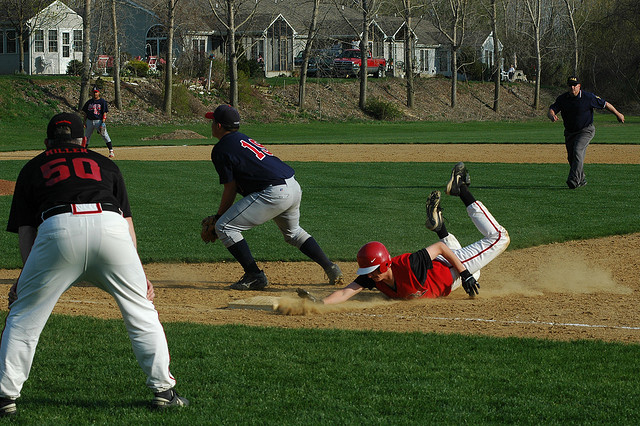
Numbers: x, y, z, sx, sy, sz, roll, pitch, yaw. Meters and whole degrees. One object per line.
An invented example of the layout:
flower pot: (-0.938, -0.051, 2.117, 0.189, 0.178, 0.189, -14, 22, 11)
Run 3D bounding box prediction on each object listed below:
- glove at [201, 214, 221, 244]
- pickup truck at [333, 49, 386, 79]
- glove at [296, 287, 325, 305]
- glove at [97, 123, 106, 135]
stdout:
glove: (-2.766, 0.443, 28.491, 0.481, 0.665, 0.190, -11, -10, 39)
pickup truck: (2.532, -9.693, 73.463, 1.942, 1.847, 4.020, 7, 8, 31)
glove: (-0.295, 2.049, 27.726, 0.734, 0.287, 0.292, 25, 5, -14)
glove: (-7.986, -3.018, 40.923, 0.193, 0.507, 0.375, 0, 3, -12)
